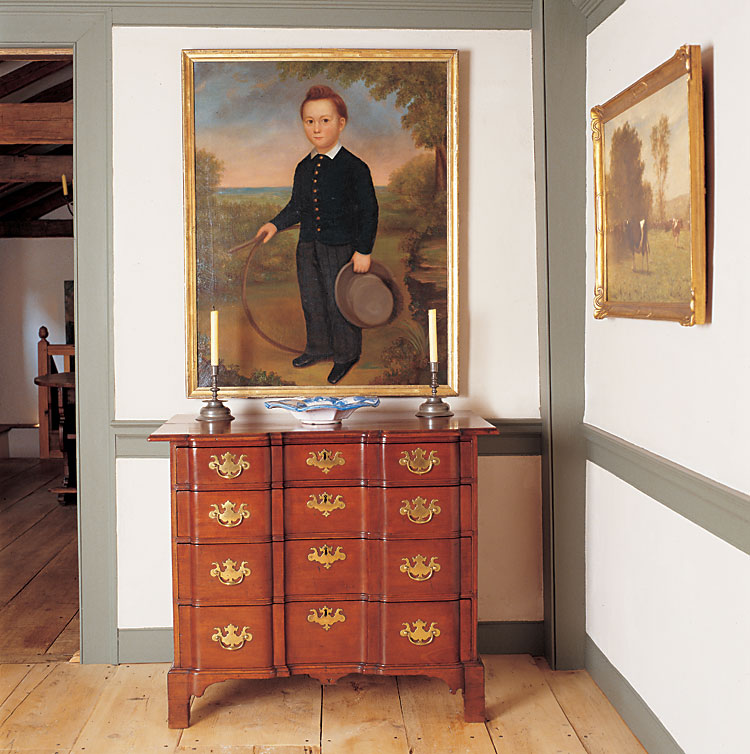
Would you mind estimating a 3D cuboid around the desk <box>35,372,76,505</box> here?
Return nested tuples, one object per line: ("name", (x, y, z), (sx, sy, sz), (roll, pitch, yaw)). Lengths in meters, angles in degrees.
("desk", (-2.239, 0.445, 6.260), (0.353, 0.994, 0.203), (-2, -3, -9))

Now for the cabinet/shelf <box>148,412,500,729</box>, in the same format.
("cabinet/shelf", (-0.184, 0.708, 3.191), (1.141, 1.012, 0.496), (0, 4, -3))

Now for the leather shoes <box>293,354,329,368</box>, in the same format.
("leather shoes", (-0.257, -0.072, 3.422), (0.133, 0.056, 0.048), (-6, 14, -12))
